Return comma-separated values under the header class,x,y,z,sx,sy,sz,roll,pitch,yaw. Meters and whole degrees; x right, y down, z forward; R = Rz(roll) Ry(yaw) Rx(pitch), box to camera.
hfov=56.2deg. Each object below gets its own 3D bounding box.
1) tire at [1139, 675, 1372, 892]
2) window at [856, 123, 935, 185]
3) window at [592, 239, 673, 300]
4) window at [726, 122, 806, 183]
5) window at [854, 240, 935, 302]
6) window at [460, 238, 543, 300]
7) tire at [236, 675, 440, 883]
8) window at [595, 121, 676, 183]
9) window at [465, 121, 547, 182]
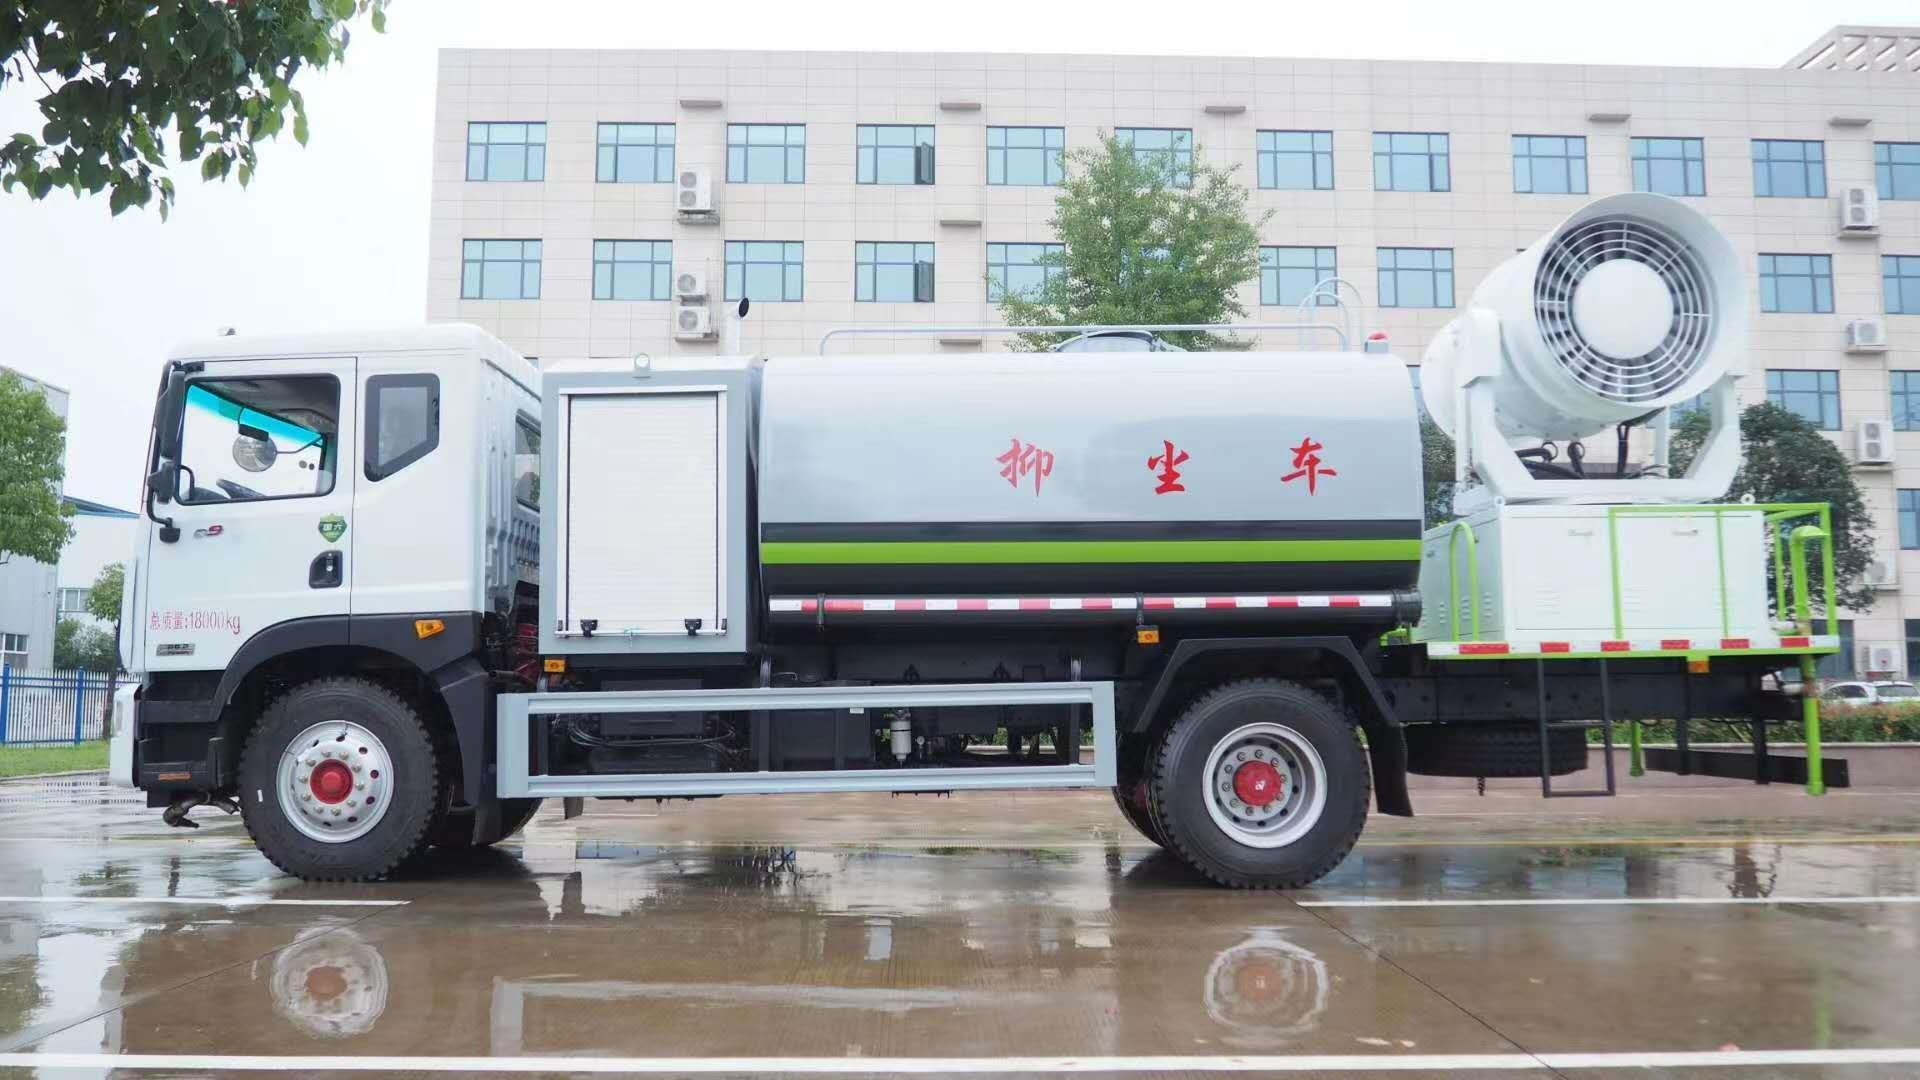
class,x,y,z,sx,sy,sz,roll,pitch,yaw
tire,3.641,2.910,21.951,2.234,2.046,0.677,20,-6,5
window,-1.468,-9.284,43.539,1.698,1.071,0.639,1,2,4
window,-7.774,-6.419,43.191,1.737,1.135,0.054,0,-9,-2
window,-4.651,-9.306,43.526,1.735,1.102,0.064,0,-10,-3
window,-1.512,-6.422,43.828,2.285,1.463,1.439,0,-2,0
window,-10.952,-6.418,43.106,1.698,1.192,0.066,0,-10,-4
tire,-7.545,2.886,21.981,2.766,2.451,1.014,-1,-6,-4
window,-7.761,-9.326,43.486,1.730,1.096,0.138,0,-5,1
window,-10.904,-9.309,43.396,1.702,1.114,0.179,0,-6,-3
